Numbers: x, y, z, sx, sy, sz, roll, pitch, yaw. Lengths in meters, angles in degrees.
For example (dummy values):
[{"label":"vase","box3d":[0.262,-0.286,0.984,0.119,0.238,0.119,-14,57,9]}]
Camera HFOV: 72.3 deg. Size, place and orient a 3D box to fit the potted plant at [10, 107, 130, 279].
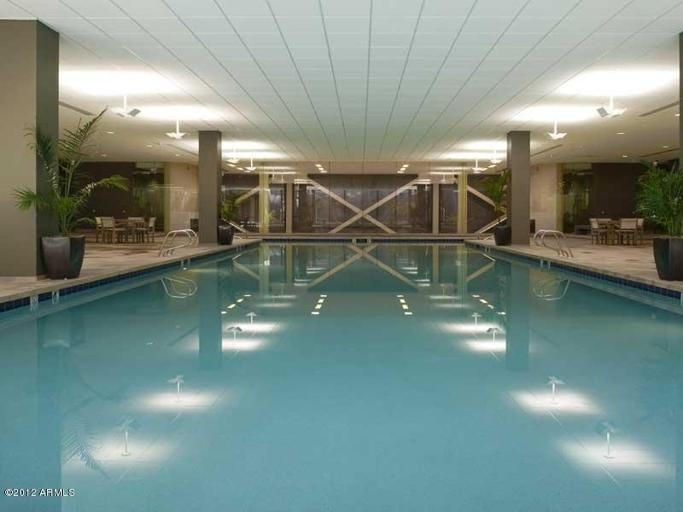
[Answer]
[{"label":"potted plant","box3d":[-4.884,-1.079,8.274,1.265,2.664,1.942,9,8,30]}]
